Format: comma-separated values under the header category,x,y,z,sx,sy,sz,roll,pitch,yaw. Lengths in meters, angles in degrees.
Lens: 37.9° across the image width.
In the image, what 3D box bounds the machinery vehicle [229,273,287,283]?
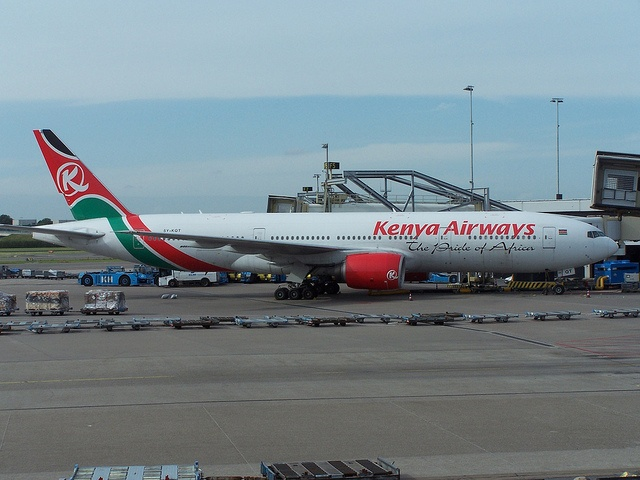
category,x,y,z,sx,sy,sz,roll,pitch,yaw
machinery vehicle,-3.960,2.390,58.772,3.857,0.619,1.113,3,-18,-6

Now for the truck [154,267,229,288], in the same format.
category,x,y,z,sx,sy,sz,roll,pitch,yaw
truck,-8.004,2.413,57.683,5.082,1.321,1.313,-1,1,-8

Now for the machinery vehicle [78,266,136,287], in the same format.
category,x,y,z,sx,sy,sz,roll,pitch,yaw
machinery vehicle,-13.436,2.285,58.678,3.474,0.645,1.620,0,1,-5

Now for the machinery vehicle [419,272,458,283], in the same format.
category,x,y,z,sx,sy,sz,roll,pitch,yaw
machinery vehicle,7.085,2.309,55.760,2.104,0.408,0.938,-2,3,10
